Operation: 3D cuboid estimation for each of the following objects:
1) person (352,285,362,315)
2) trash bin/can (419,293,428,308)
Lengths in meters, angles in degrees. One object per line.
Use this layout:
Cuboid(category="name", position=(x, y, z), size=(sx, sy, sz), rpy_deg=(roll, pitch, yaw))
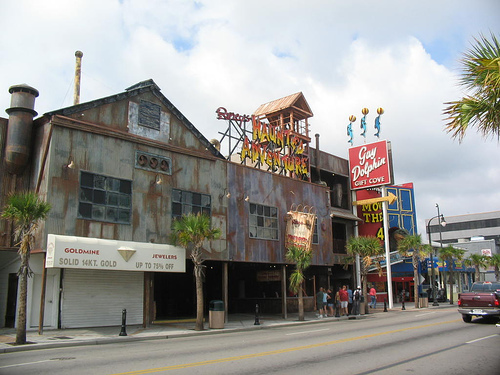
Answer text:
Cuboid(category="person", position=(8.157, 8.738, 34.482), size=(0.839, 1.966, 0.803), rpy_deg=(-1, -15, -5))
Cuboid(category="trash bin/can", position=(16.626, 10.802, 43.288), size=(0.759, 1.337, 1.201), rpy_deg=(-7, -16, 17))
